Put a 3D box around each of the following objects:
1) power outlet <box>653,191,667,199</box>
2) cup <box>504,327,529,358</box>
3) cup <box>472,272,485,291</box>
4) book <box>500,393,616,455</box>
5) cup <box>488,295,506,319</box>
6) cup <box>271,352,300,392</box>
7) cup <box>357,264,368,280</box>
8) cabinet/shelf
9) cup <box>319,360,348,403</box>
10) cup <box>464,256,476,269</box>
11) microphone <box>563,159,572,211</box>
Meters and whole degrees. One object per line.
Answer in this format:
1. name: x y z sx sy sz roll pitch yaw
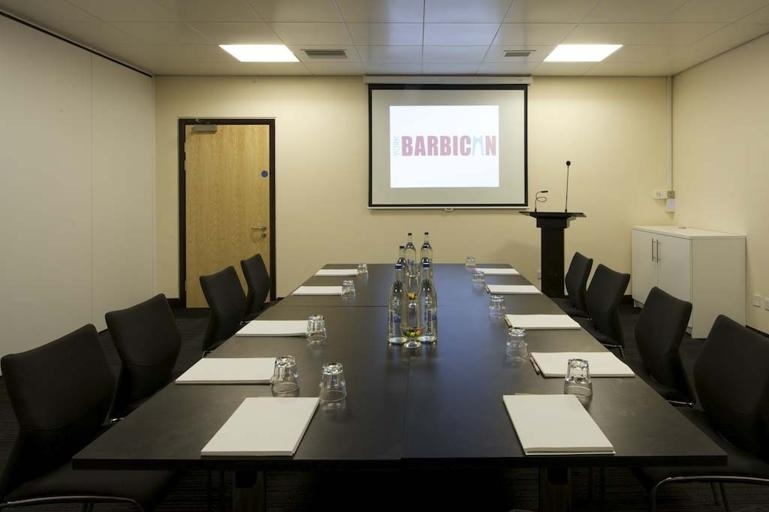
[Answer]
1. power outlet: 3.982 -0.877 7.743 0.182 0.131 0.096 0 3 8
2. cup: 0.817 0.541 3.329 0.147 0.147 0.150 0 -3 0
3. cup: 0.857 0.229 4.827 0.136 0.210 0.141 -1 1 0
4. book: 0.847 0.823 2.660 0.452 0.112 0.366 0 14 0
5. cup: 0.804 0.372 3.948 0.134 0.207 0.140 -1 0 0
6. cup: -0.542 0.662 2.997 0.146 0.181 0.179 1 -5 -7
7. cup: -0.238 0.157 5.436 0.125 0.165 0.131 0 -6 0
8. cabinet/shelf: 3.872 0.231 7.062 0.569 1.178 1.614 -2 5 1
9. cup: -0.271 0.687 2.927 0.165 0.189 0.170 0 -4 0
10. cup: 0.939 0.073 5.754 0.147 0.149 0.151 0 -3 0
11. microphone: 2.636 -1.018 7.740 0.089 0.711 0.251 3 14 16
